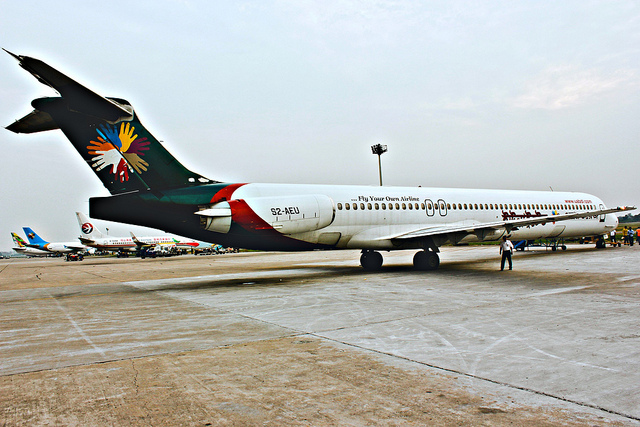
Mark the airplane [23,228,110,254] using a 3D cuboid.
[{"bbox_3d":[-40.878,4.651,66.064,12.792,2.248,9.105,-1,2,-2],"label":"airplane"}]
